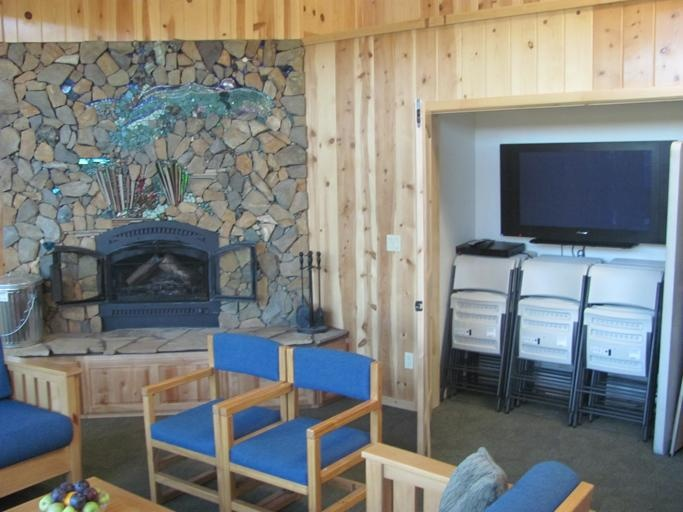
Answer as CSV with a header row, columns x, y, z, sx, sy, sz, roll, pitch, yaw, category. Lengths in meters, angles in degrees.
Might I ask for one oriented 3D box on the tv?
x,y,z,sx,sy,sz,roll,pitch,yaw,category
2.174,-0.541,4.901,1.136,0.648,0.285,3,8,28,tv
